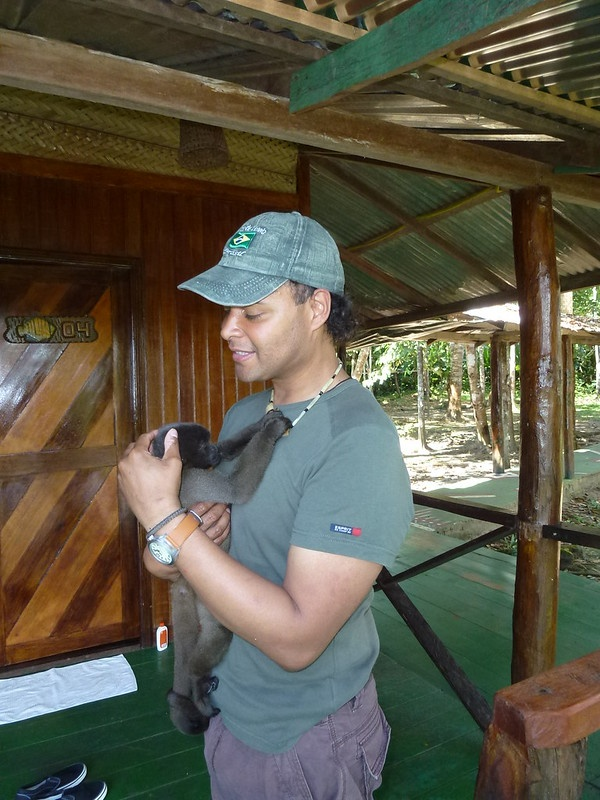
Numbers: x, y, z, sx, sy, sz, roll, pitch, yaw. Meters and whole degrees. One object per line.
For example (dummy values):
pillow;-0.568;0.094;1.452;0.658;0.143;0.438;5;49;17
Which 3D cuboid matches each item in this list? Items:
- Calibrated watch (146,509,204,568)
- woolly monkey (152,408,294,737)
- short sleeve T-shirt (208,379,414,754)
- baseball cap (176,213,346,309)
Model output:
Calibrated watch;-0.267;0.291;1.391;0.120;0.073;0.118;-40;-16;-37
woolly monkey;-0.109;0.452;1.941;0.395;0.921;0.518;-6;15;-15
short sleeve T-shirt;0.019;0.373;1.545;0.482;0.838;0.475;1;3;4
baseball cap;-0.079;-0.319;1.557;0.366;0.161;0.226;-3;19;-29
